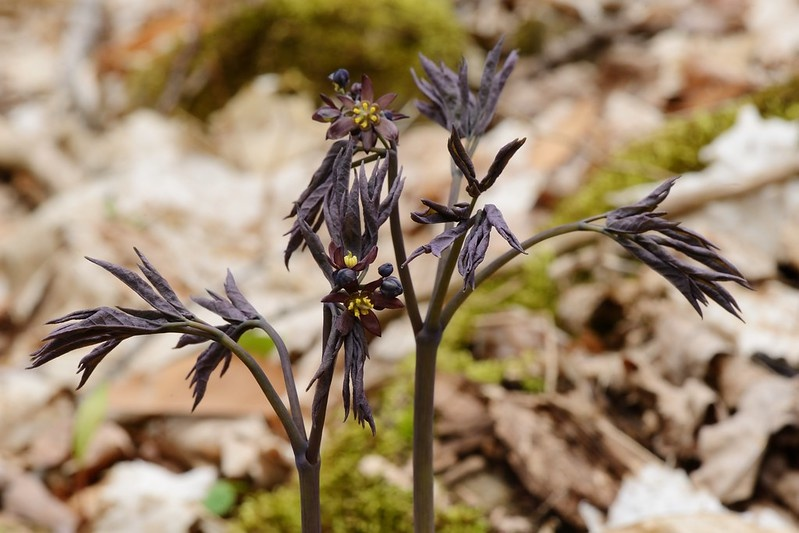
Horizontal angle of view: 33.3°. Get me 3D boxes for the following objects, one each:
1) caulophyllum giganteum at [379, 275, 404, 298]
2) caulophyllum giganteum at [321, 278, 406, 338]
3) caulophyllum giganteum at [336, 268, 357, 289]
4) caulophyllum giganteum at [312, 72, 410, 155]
[{"bbox_3d":[-0.043,0.107,6.629,0.114,0.056,0.082,-5,-87,31],"label":"caulophyllum giganteum"},{"bbox_3d":[-0.194,0.175,6.599,0.313,0.323,0.139,10,-49,-12],"label":"caulophyllum giganteum"},{"bbox_3d":[-0.268,0.066,6.575,0.090,0.060,0.097,-1,-85,2],"label":"caulophyllum giganteum"},{"bbox_3d":[-0.214,-0.858,6.814,0.455,0.638,0.304,12,-54,-16],"label":"caulophyllum giganteum"}]
